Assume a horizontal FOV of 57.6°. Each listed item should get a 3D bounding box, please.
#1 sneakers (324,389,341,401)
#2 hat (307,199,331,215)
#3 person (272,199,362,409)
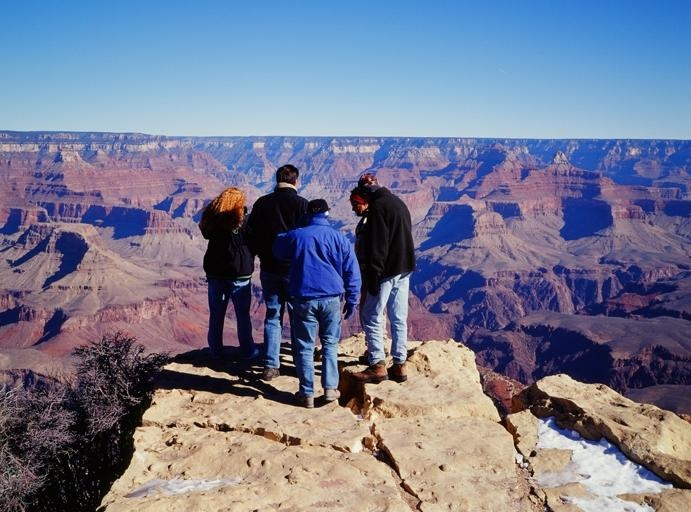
[{"bbox_3d":[-0.186,2.064,9.327,0.120,0.168,0.256,2,6,20],"label":"sneakers"},{"bbox_3d":[-0.409,-0.717,9.227,0.261,0.151,0.253,-1,10,-3],"label":"hat"},{"bbox_3d":[-0.380,0.681,9.198,1.204,3.002,0.554,-1,7,-9],"label":"person"}]
